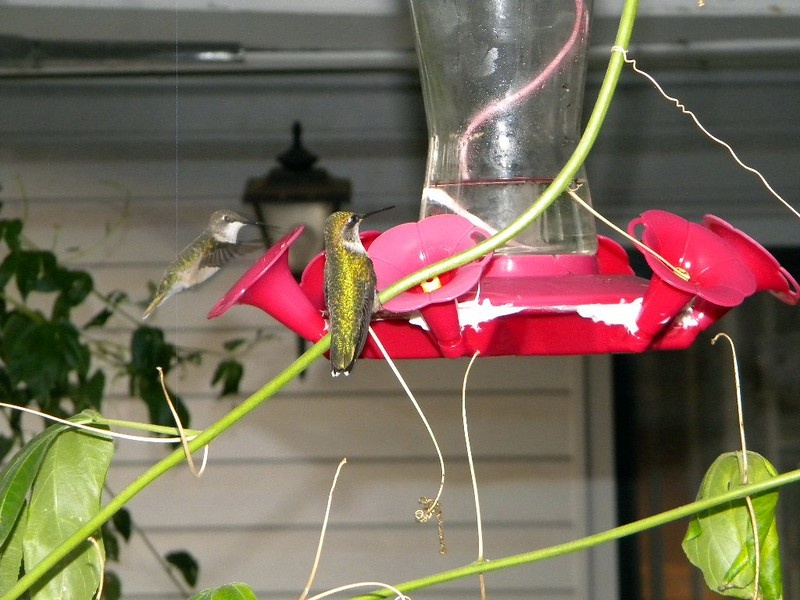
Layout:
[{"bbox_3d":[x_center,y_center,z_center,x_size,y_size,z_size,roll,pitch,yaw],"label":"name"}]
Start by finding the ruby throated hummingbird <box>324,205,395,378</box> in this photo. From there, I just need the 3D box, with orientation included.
[{"bbox_3d":[-0.094,-0.008,2.676,0.108,0.342,0.168,1,-33,-2],"label":"ruby throated hummingbird"}]

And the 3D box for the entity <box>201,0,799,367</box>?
[{"bbox_3d":[0.216,-0.181,2.840,0.900,0.793,0.903,-2,-5,14],"label":"entity"}]

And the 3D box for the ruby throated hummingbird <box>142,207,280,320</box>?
[{"bbox_3d":[-0.412,-0.088,2.980,0.365,0.169,0.355,-18,1,7],"label":"ruby throated hummingbird"}]
